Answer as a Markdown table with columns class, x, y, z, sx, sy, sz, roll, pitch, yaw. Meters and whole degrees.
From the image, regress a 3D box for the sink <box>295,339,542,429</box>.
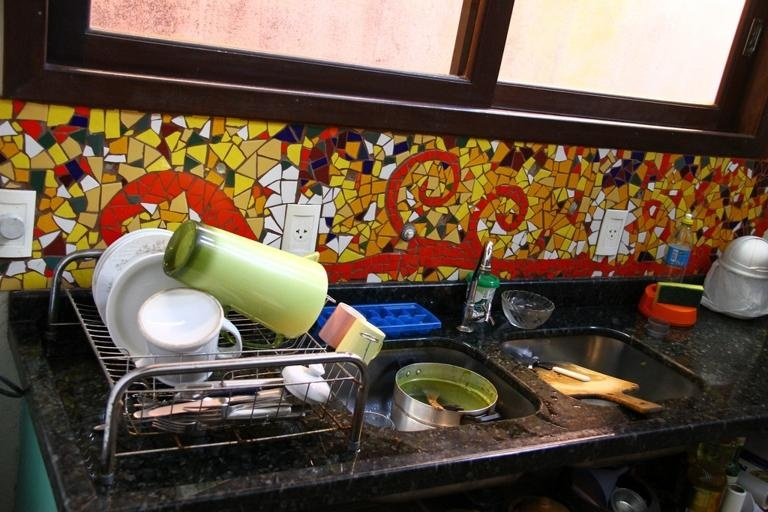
| class | x | y | z | sx | sy | sz | roll | pitch | yaw |
| --- | --- | --- | --- | --- | --- | --- | --- | --- | --- |
| sink | 0.131 | 0.319 | 1.487 | 0.309 | 0.096 | 0.306 | 0 | 18 | -20 |

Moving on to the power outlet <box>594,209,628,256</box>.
| class | x | y | z | sx | sy | sz | roll | pitch | yaw |
| --- | --- | --- | --- | --- | --- | --- | --- | --- | --- |
| power outlet | 0.788 | -0.081 | 1.853 | 0.112 | 0.166 | 0.025 | -6 | 24 | -27 |

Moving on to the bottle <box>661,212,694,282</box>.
| class | x | y | z | sx | sy | sz | roll | pitch | yaw |
| --- | --- | --- | --- | --- | --- | --- | --- | --- | --- |
| bottle | 1.066 | -0.037 | 1.930 | 0.083 | 0.249 | 0.187 | 16 | 24 | 28 |

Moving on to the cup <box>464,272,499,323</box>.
| class | x | y | z | sx | sy | sz | roll | pitch | yaw |
| --- | --- | --- | --- | --- | --- | --- | --- | --- | --- |
| cup | 0.292 | 0.125 | 1.626 | 0.108 | 0.152 | 0.101 | 5 | 29 | -3 |

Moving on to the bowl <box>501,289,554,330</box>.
| class | x | y | z | sx | sy | sz | roll | pitch | yaw |
| --- | --- | --- | --- | --- | --- | --- | --- | --- | --- |
| bowl | 0.445 | 0.168 | 1.685 | 0.158 | 0.101 | 0.119 | 8 | 21 | 11 |

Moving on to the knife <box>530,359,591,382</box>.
| class | x | y | z | sx | sy | sz | roll | pitch | yaw |
| --- | --- | --- | --- | --- | --- | --- | --- | --- | --- |
| knife | 0.509 | 0.330 | 1.555 | 0.054 | 0.020 | 0.179 | -16 | 23 | -36 |

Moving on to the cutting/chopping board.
| class | x | y | z | sx | sy | sz | roll | pitch | yaw |
| --- | --- | --- | --- | --- | --- | --- | --- | --- | --- |
| cutting/chopping board | 0.592 | 0.315 | 1.430 | 0.125 | 0.013 | 0.305 | -3 | 8 | -26 |
